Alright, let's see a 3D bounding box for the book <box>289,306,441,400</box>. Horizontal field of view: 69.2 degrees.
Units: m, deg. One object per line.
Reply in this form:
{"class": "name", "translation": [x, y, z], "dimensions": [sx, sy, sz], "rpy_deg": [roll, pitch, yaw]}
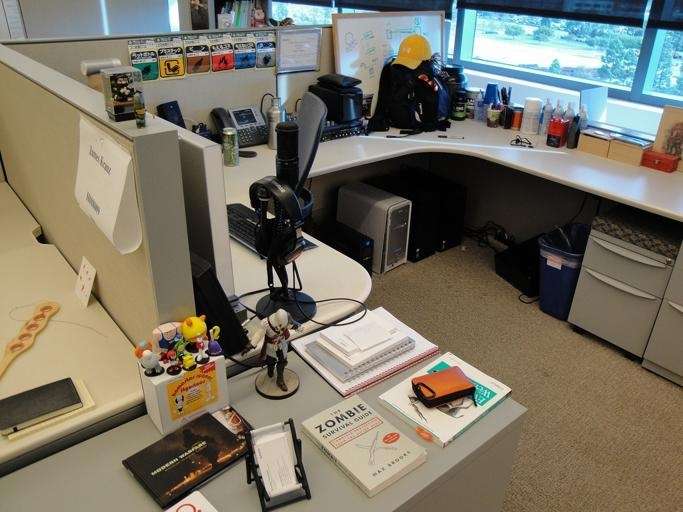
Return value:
{"class": "book", "translation": [0.088, 0.279, 1.482], "dimensions": [0.270, 0.065, 0.242], "rpy_deg": [-21, 37, -31]}

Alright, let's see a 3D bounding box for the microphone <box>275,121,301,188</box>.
{"class": "microphone", "translation": [-0.147, -0.272, 1.378], "dimensions": [0.076, 0.191, 0.067], "rpy_deg": [-12, 30, -22]}

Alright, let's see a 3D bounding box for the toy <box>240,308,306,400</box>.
{"class": "toy", "translation": [-0.170, 0.270, 1.368], "dimensions": [0.110, 0.233, 0.146], "rpy_deg": [-9, 36, -43]}

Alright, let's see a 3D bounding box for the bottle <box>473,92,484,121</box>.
{"class": "bottle", "translation": [0.936, -1.035, 3.412], "dimensions": [0.050, 0.153, 0.121], "rpy_deg": [4, 42, 10]}

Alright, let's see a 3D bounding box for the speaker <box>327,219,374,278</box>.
{"class": "speaker", "translation": [0.032, -0.068, 3.143], "dimensions": [0.237, 0.280, 0.303], "rpy_deg": [-10, 31, -26]}

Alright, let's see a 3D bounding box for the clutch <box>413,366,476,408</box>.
{"class": "clutch", "translation": [0.274, 0.350, 1.356], "dimensions": [0.123, 0.039, 0.095], "rpy_deg": [-10, 31, -16]}

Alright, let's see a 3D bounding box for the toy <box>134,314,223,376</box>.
{"class": "toy", "translation": [-0.400, 0.230, 1.233], "dimensions": [0.226, 0.100, 0.130], "rpy_deg": [-16, 38, -31]}

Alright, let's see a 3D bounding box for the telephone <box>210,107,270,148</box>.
{"class": "telephone", "translation": [-0.561, -0.753, 2.874], "dimensions": [0.313, 0.135, 0.248], "rpy_deg": [-12, 59, -35]}

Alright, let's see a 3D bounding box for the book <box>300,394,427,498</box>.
{"class": "book", "translation": [0.053, 0.482, 1.231], "dimensions": [0.250, 0.032, 0.305], "rpy_deg": [-20, 35, -37]}

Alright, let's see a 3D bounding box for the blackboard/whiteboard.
{"class": "blackboard/whiteboard", "translation": [0.278, -1.274, 3.187], "dimensions": [0.678, 0.490, 0.032], "rpy_deg": [-18, 34, -27]}

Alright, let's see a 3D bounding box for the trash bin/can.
{"class": "trash bin/can", "translation": [1.231, 0.056, 2.928], "dimensions": [0.279, 0.628, 0.305], "rpy_deg": [18, 31, 29]}

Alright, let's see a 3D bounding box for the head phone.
{"class": "head phone", "translation": [-0.195, -0.094, 1.452], "dimensions": [0.191, 0.263, 0.105], "rpy_deg": [20, 37, 33]}
